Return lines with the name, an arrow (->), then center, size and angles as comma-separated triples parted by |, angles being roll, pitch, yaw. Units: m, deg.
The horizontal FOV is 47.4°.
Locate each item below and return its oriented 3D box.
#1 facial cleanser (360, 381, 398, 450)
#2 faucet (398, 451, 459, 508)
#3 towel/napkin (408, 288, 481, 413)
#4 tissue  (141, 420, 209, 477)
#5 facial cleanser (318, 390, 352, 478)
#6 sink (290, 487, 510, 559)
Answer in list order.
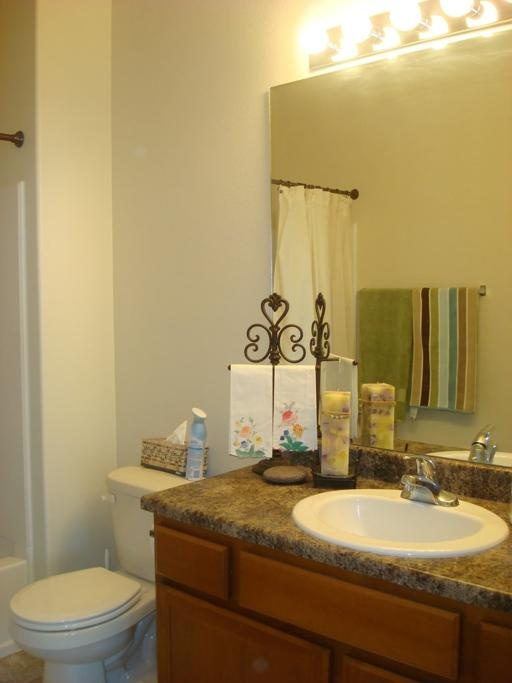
facial cleanser -> 0.299, 0.181, 1.442 | 0.079, 0.153, 0.070 | 3, 7, 14
faucet -> 0.342, 0.294, 1.217 | 0.139, 0.105, 0.056 | -2, -1, 44
towel/napkin -> 0.435, 0.019, 1.335 | 0.178, 0.274, 0.005 | 4, 5, 43
tissue  -> -0.273, 0.366, 1.918 | 0.159, 0.126, 0.220 | 6, -8, -43
facial cleanser -> 0.194, 0.218, 1.399 | 0.086, 0.203, 0.088 | 0, 4, -4
sink -> 0.276, 0.328, 1.108 | 0.345, 0.101, 0.279 | 1, 1, 27
